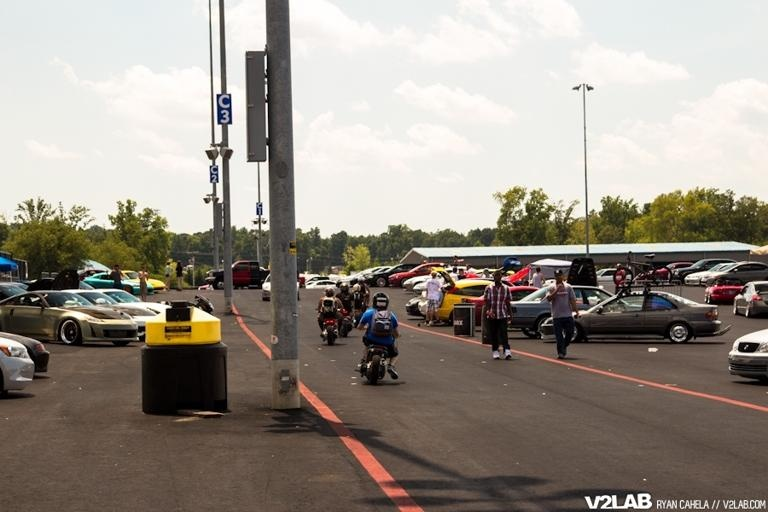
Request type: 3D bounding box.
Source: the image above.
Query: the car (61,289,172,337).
[{"bbox_3d":[-7.706,1.630,27.273,3.452,1.272,1.656,-6,-3,11],"label":"car"}]

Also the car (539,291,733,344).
[{"bbox_3d":[7.669,1.936,30.026,4.945,1.428,2.109,1,-3,8],"label":"car"}]

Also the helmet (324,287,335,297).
[{"bbox_3d":[-1.638,1.086,28.986,0.232,0.146,0.321,1,7,-7],"label":"helmet"}]

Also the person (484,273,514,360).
[{"bbox_3d":[2.899,1.477,24.525,0.773,2.177,0.813,0,0,26],"label":"person"}]

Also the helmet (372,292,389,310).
[{"bbox_3d":[-0.088,1.010,21.448,0.304,0.363,0.366,3,15,-3],"label":"helmet"}]

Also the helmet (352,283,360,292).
[{"bbox_3d":[-0.953,1.114,33.855,0.201,0.263,0.267,-2,2,-24],"label":"helmet"}]

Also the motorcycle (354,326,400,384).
[{"bbox_3d":[-0.060,2.130,20.898,0.877,1.153,0.791,0,-2,-15],"label":"motorcycle"}]

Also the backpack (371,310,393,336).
[{"bbox_3d":[-0.058,1.465,21.090,0.404,0.533,0.526,1,-6,-5],"label":"backpack"}]

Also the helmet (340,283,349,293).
[{"bbox_3d":[-1.316,1.042,31.777,0.316,0.216,0.527,-1,4,-1],"label":"helmet"}]

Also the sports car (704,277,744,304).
[{"bbox_3d":[16.702,1.768,48.290,1.267,0.841,2.614,-1,2,8],"label":"sports car"}]

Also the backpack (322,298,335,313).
[{"bbox_3d":[-1.669,1.483,28.929,0.325,0.426,0.438,1,-10,1],"label":"backpack"}]
